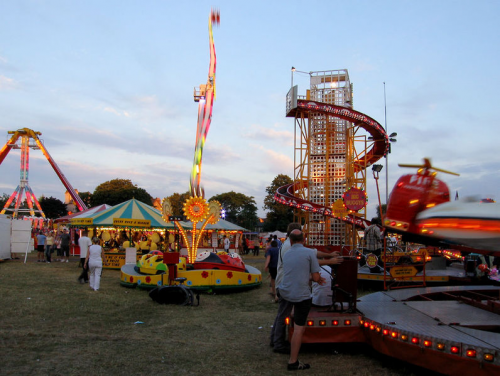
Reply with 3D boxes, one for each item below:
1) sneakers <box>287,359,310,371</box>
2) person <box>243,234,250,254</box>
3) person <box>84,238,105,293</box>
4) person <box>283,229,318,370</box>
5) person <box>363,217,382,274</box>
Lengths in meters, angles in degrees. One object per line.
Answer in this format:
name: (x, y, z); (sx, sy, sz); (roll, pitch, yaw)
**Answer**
sneakers: (0.847, 3.119, 9.382); (0.318, 0.136, 0.175); (0, -3, -8)
person: (-0.307, 4.531, 42.039); (0.572, 1.325, 1.191); (2, -3, -1)
person: (-4.837, 2.309, 16.557); (0.485, 1.581, 1.580); (3, -3, -17)
person: (0.888, 2.121, 9.487); (0.734, 2.126, 0.383); (2, -3, 4)
person: (3.528, 1.642, 15.223); (0.499, 1.541, 0.877); (1, -3, 12)
